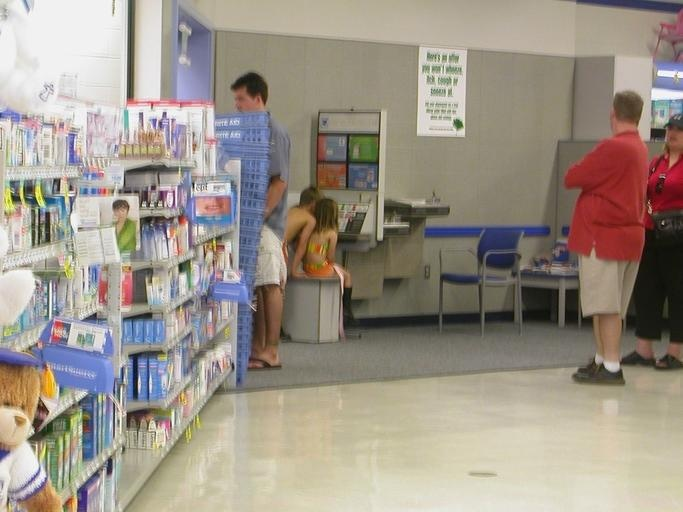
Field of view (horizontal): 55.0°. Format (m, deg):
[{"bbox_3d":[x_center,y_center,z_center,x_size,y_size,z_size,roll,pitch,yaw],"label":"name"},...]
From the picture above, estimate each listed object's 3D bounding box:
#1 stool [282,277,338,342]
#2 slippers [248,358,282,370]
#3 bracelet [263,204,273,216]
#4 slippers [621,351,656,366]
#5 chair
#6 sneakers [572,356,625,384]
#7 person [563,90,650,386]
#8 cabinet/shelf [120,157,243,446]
[{"bbox_3d":[-0.250,0.493,6.924,0.579,0.852,0.586,1,5,12],"label":"stool"},{"bbox_3d":[-0.667,0.914,5.543,0.260,0.076,0.105,3,-1,-9],"label":"slippers"},{"bbox_3d":[-0.612,-0.370,5.350,0.063,0.074,0.076,4,22,-5],"label":"bracelet"},{"bbox_3d":[2.608,0.911,5.843,0.315,0.135,0.120,0,-4,12],"label":"slippers"},{"bbox_3d":[1.588,0.265,7.464,0.857,1.153,1.348,2,4,14],"label":"chair"},{"bbox_3d":[2.011,0.910,5.220,0.411,0.189,0.166,4,2,16],"label":"sneakers"},{"bbox_3d":[2.045,-0.145,5.111,0.633,2.271,0.425,1,3,9],"label":"person"},{"bbox_3d":[-0.901,0.257,3.609,0.308,0.966,1.622,0,4,0],"label":"cabinet/shelf"}]
